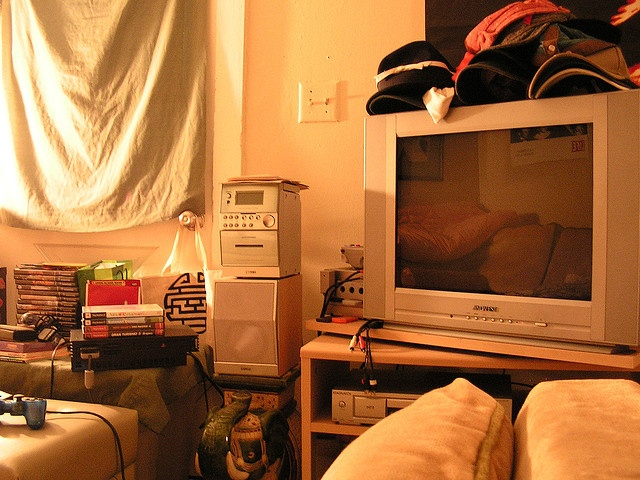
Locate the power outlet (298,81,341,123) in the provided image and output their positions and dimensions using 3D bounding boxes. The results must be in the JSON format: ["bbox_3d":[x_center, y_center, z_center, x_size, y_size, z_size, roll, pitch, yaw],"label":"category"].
[{"bbox_3d":[-0.005,-0.543,2.350,0.158,0.168,0.024,-2,31,-5],"label":"power outlet"}]

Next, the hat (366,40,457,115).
[{"bbox_3d":[0.314,-0.538,1.936,0.284,0.136,0.199,-30,2,-40],"label":"hat"}]

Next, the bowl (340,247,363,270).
[{"bbox_3d":[0.113,0.067,2.119,0.071,0.069,0.074,1,-2,0],"label":"bowl"}]

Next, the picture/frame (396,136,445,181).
[{"bbox_3d":[0.326,-0.261,1.928,0.185,0.143,0.190,-4,8,-28],"label":"picture/frame"}]

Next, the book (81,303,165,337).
[{"bbox_3d":[-0.651,0.275,1.981,0.252,0.089,0.076,-2,4,-23],"label":"book"}]

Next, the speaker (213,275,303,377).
[{"bbox_3d":[-0.270,0.351,2.107,0.268,0.345,0.303,8,-30,-22],"label":"speaker"}]
